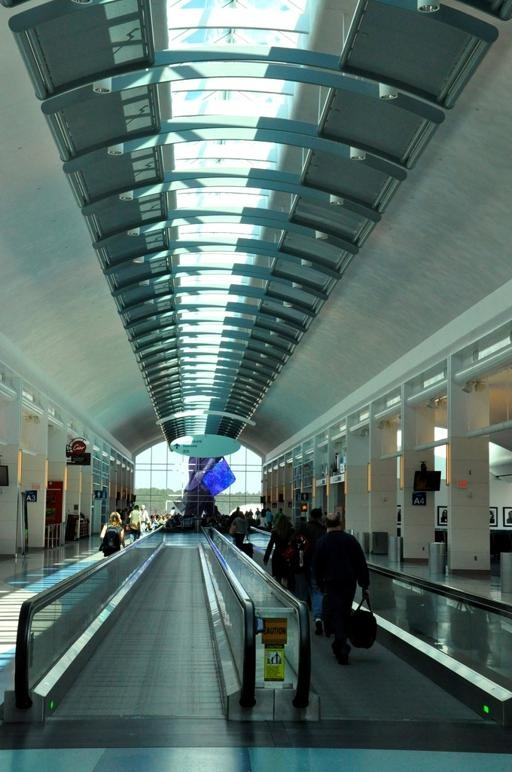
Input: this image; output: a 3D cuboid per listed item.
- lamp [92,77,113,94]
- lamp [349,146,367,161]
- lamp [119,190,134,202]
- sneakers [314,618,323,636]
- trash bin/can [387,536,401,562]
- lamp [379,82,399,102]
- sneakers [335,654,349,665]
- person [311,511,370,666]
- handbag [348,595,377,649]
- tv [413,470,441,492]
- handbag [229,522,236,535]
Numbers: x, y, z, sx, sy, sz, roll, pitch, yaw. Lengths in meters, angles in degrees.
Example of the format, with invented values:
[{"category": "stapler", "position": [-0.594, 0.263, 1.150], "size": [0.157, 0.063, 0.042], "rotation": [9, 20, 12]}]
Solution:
[{"category": "lamp", "position": [-1.916, -3.712, 6.795], "size": [0.259, 0.137, 0.183], "rotation": [-1, -12, 2]}, {"category": "lamp", "position": [1.524, -3.486, 8.317], "size": [0.166, 0.137, 0.175], "rotation": [1, -19, 4]}, {"category": "lamp", "position": [-2.368, -3.459, 10.020], "size": [0.174, 0.272, 0.251], "rotation": [4, 13, -4]}, {"category": "sneakers", "position": [0.833, 3.191, 7.283], "size": [0.073, 0.242, 0.096], "rotation": [-2, 1, 0]}, {"category": "trash bin/can", "position": [4.753, 5.532, 18.805], "size": [0.467, 0.732, 0.367], "rotation": [-8, -13, 33]}, {"category": "lamp", "position": [1.613, -3.540, 6.678], "size": [0.179, 0.196, 0.199], "rotation": [-1, -11, 10]}, {"category": "sneakers", "position": [0.898, 2.800, 5.712], "size": [0.110, 0.113, 0.115], "rotation": [2, -6, 3]}, {"category": "person", "position": [0.893, 2.062, 5.692], "size": [0.511, 1.450, 0.539], "rotation": [-2, -4, 0]}, {"category": "handbag", "position": [1.067, 2.384, 5.549], "size": [0.278, 0.512, 0.224], "rotation": [-2, -11, 9]}, {"category": "tv", "position": [5.451, 2.991, 17.517], "size": [0.758, 0.597, 0.388], "rotation": [0, -11, -3]}, {"category": "handbag", "position": [-0.738, 4.520, 17.214], "size": [0.251, 0.336, 0.460], "rotation": [1, -7, 1]}]
